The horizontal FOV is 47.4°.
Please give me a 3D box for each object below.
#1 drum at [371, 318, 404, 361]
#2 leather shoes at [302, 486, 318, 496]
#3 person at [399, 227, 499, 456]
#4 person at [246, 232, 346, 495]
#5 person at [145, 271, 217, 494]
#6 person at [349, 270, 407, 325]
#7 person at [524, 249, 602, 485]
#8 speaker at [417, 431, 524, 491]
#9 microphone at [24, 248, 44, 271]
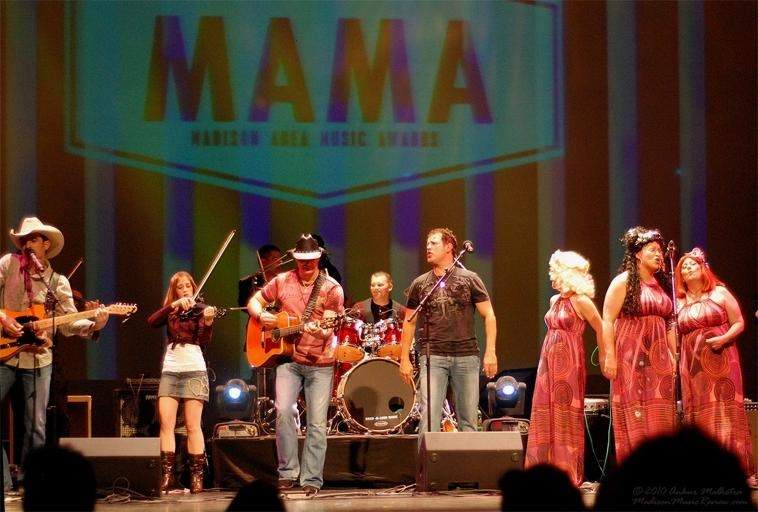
[{"bbox_3d":[0.097,0.980,9.928,0.375,0.405,0.404,0,-42,-2],"label":"drum"},{"bbox_3d":[-0.650,2.247,8.296,0.150,0.096,0.082,8,-15,-31],"label":"leather shoes"},{"bbox_3d":[0.684,0.787,8.554,0.946,2.169,0.506,0,-12,1],"label":"person"},{"bbox_3d":[-0.792,1.052,8.544,0.886,2.523,0.587,-1,-12,6],"label":"person"},{"bbox_3d":[-2.040,1.265,8.922,0.631,2.296,0.888,3,-13,-15],"label":"person"},{"bbox_3d":[-0.002,0.564,10.613,0.949,0.772,0.537,1,-23,-1],"label":"person"},{"bbox_3d":[1.856,1.090,8.668,0.786,2.324,0.410,-2,-12,8],"label":"person"},{"bbox_3d":[0.850,1.869,7.891,0.881,0.517,0.284,2,-13,-10],"label":"speaker"},{"bbox_3d":[-3.451,0.028,8.581,0.119,0.135,0.474,-1,15,-34],"label":"microphone"}]
